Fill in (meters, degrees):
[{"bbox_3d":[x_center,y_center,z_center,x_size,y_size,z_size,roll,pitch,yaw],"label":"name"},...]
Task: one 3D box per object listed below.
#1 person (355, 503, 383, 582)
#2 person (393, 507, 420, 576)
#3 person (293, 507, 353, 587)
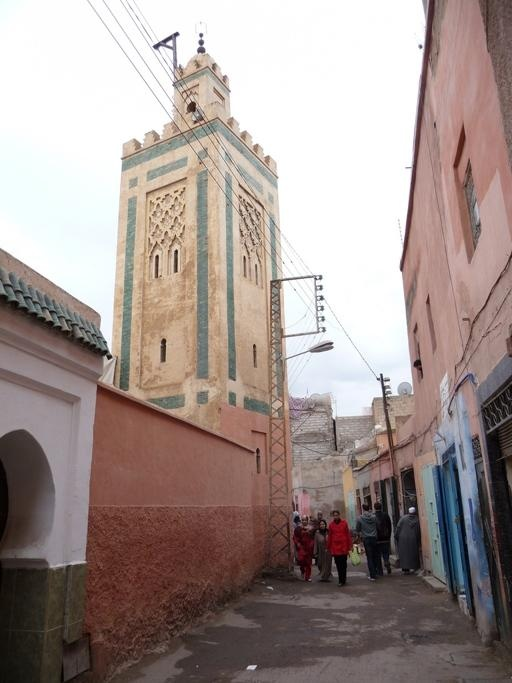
[{"bbox_3d":[2.520,4.517,10.376,0.458,1.600,1.483,-7,-19,12],"label":"person"},{"bbox_3d":[3.631,4.622,10.988,0.526,1.562,0.433,0,14,6],"label":"person"},{"bbox_3d":[1.585,4.673,10.439,0.768,1.476,1.896,-1,-20,-8],"label":"person"}]
